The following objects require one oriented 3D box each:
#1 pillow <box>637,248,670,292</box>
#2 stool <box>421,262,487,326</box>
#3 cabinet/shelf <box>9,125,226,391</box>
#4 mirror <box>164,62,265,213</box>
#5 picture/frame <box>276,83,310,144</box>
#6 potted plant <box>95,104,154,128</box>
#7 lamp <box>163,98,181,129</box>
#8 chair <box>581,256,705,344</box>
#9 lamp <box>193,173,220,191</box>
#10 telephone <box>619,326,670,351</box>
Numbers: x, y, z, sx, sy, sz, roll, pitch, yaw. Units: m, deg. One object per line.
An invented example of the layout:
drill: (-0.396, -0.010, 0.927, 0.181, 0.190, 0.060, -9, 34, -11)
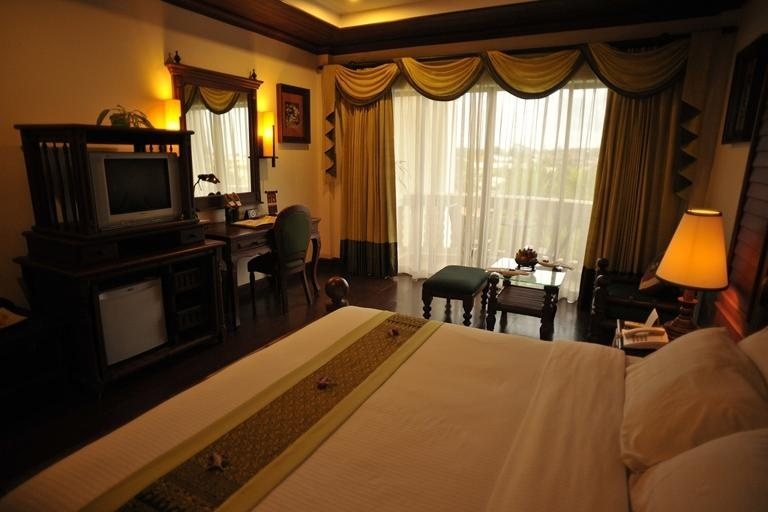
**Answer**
pillow: (2.260, 0.113, 4.211, 0.075, 0.180, 0.525, 23, 15, 8)
stool: (0.702, 0.308, 4.830, 0.477, 0.452, 0.702, 4, 13, 19)
cabinet/shelf: (-2.163, 0.044, 3.954, 1.170, 2.297, 1.475, 9, 18, 26)
mirror: (-1.718, -1.209, 4.979, 0.183, 1.754, 1.448, 4, 11, 21)
picture/frame: (-1.107, -1.708, 5.956, 0.075, 0.777, 0.660, 6, 12, 29)
potted plant: (-2.171, -1.167, 4.226, 0.364, 0.157, 0.375, 9, 15, 28)
lamp: (-1.969, -1.323, 4.653, 0.134, 0.251, 0.106, -3, 13, -16)
chair: (2.100, 0.365, 4.321, 0.603, 0.615, 0.810, 3, 23, 6)
lamp: (-1.779, -0.749, 5.043, 0.180, 0.102, 0.135, 8, 12, 0)
telephone: (1.730, 0.515, 3.340, 0.214, 0.082, 0.167, 6, 19, 34)
